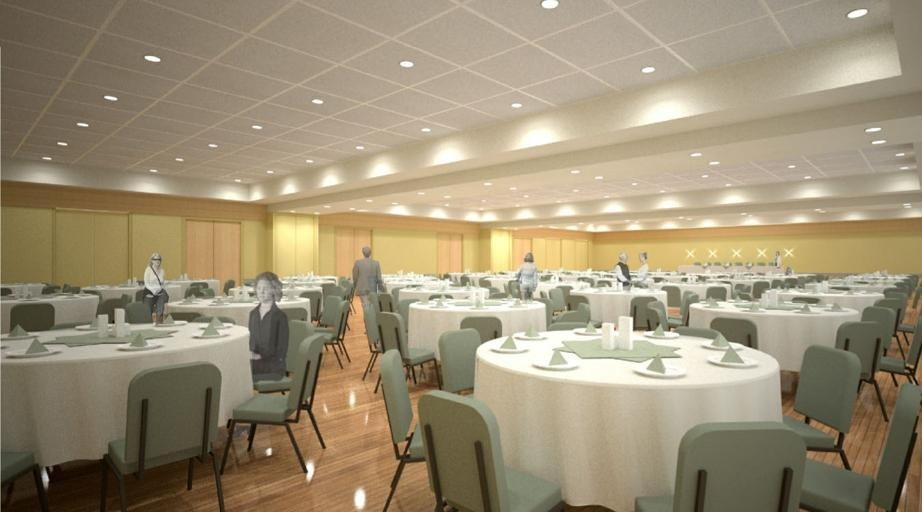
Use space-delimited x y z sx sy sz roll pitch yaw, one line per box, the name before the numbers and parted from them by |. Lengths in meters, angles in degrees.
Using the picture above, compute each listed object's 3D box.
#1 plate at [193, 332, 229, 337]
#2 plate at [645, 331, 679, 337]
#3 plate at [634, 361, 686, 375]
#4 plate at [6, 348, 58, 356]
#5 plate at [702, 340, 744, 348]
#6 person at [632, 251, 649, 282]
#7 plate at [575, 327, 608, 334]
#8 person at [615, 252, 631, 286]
plate | -3.300 1.044 6.811 0.428 0.055 0.243 0 -2 -26
plate | 2.661 1.044 6.838 0.474 0.070 0.257 -1 -2 3
plate | 2.223 1.266 5.776 0.608 0.135 0.341 -1 -2 -1
plate | -5.118 1.157 6.156 0.531 0.075 0.171 -1 -2 -3
plate | 3.242 1.113 6.402 0.511 0.078 0.295 0 -2 -6
person | 5.024 0.314 14.412 0.305 0.716 1.597 -1 -2 18
plate | 1.728 1.010 7.075 0.355 0.078 0.415 -1 -2 12
person | 4.089 0.348 13.143 0.315 0.715 0.690 -1 -1 15
